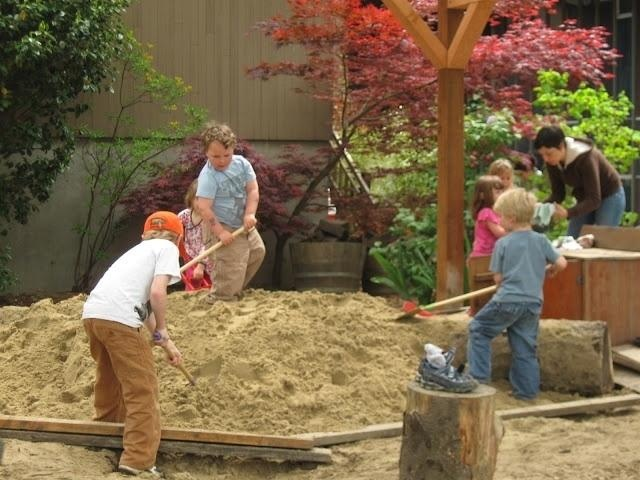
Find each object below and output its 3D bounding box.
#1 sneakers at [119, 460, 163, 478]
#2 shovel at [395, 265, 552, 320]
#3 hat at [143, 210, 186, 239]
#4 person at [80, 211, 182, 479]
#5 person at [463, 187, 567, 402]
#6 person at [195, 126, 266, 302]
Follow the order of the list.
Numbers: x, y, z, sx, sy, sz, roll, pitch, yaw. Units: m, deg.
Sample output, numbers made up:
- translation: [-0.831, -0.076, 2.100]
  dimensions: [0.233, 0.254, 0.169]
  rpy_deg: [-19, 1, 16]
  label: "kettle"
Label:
- translation: [-1.697, 2.167, 10.746]
  dimensions: [0.425, 0.208, 0.155]
  rpy_deg: [1, 2, -39]
  label: "sneakers"
- translation: [1.741, 0.588, 12.538]
  dimensions: [1.101, 0.240, 0.191]
  rpy_deg: [-20, 20, -4]
  label: "shovel"
- translation: [-1.493, -0.131, 11.249]
  dimensions: [0.343, 0.264, 0.575]
  rpy_deg: [3, -1, 8]
  label: "hat"
- translation: [-1.797, 0.965, 10.980]
  dimensions: [0.924, 2.483, 0.524]
  rpy_deg: [0, -2, -4]
  label: "person"
- translation: [1.999, 0.568, 11.724]
  dimensions: [0.901, 2.133, 0.470]
  rpy_deg: [0, -2, -12]
  label: "person"
- translation: [-1.002, -0.281, 12.458]
  dimensions: [0.551, 1.849, 0.856]
  rpy_deg: [-1, -3, 25]
  label: "person"
